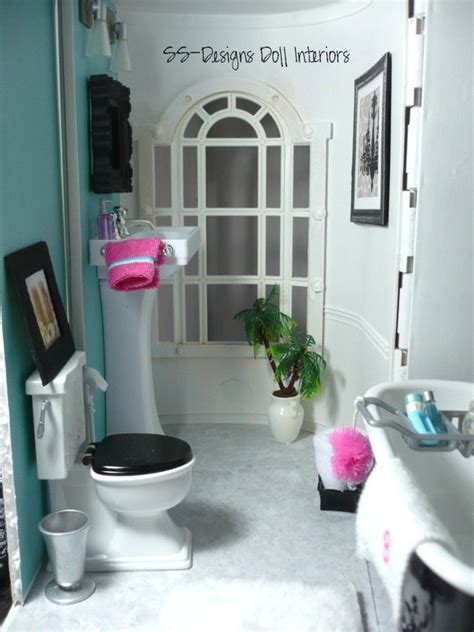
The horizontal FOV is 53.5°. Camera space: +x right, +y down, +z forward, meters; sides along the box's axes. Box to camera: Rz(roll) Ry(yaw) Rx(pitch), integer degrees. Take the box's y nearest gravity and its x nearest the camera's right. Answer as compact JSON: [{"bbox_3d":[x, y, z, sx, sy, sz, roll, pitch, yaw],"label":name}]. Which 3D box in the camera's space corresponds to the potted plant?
[{"bbox_3d":[0.277,0.287,2.974,0.572,0.948,0.377,2,4,21],"label":"potted plant"}]

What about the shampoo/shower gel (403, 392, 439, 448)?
[{"bbox_3d":[0.445,0.255,1.130,0.045,0.053,0.177,-15,19,13],"label":"shampoo/shower gel"}]

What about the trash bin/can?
[{"bbox_3d":[-0.556,0.785,1.540,0.135,0.240,0.157,0,9,-3],"label":"trash bin/can"}]

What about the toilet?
[{"bbox_3d":[-0.448,0.499,1.761,0.528,0.819,0.534,0,10,-4],"label":"toilet"}]
